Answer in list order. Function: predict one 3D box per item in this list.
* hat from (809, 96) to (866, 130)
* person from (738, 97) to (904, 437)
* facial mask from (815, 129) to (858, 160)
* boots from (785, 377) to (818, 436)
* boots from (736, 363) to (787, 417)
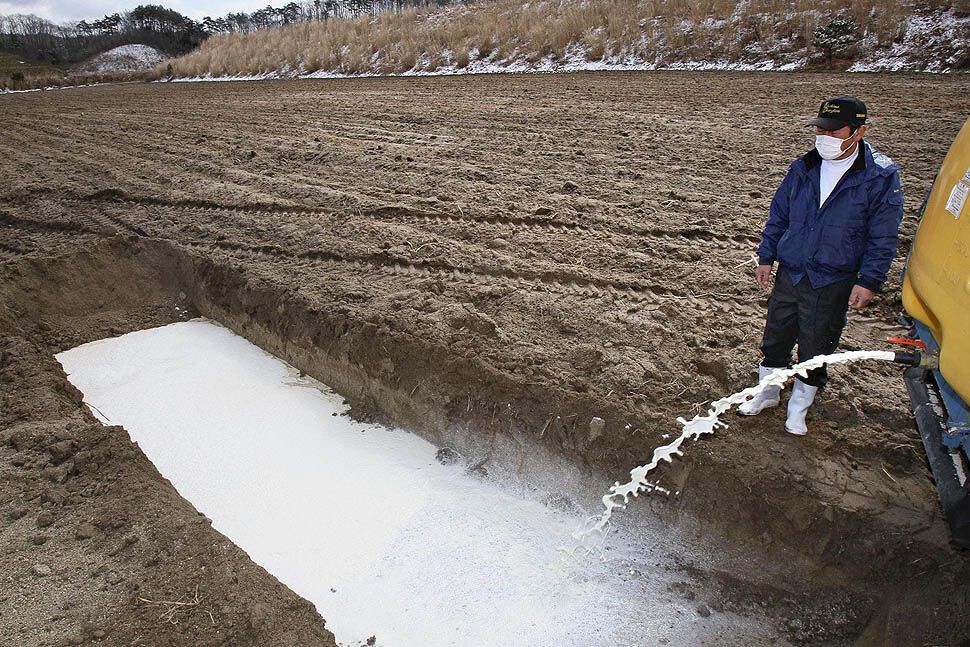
[{"bbox_3d":[2.743,-1.612,4.851,0.386,0.203,0.262,-3,28,-7],"label":"hat"},{"bbox_3d":[2.739,-0.519,5.073,0.890,2.340,0.958,-1,31,5],"label":"person"},{"bbox_3d":[2.733,-1.400,4.885,0.236,0.136,0.226,-19,27,-18],"label":"facial mask"},{"bbox_3d":[2.668,0.711,5.300,0.203,0.416,0.411,13,-3,20],"label":"boots"},{"bbox_3d":[2.505,0.712,5.637,0.222,0.486,0.508,34,19,21],"label":"boots"}]
